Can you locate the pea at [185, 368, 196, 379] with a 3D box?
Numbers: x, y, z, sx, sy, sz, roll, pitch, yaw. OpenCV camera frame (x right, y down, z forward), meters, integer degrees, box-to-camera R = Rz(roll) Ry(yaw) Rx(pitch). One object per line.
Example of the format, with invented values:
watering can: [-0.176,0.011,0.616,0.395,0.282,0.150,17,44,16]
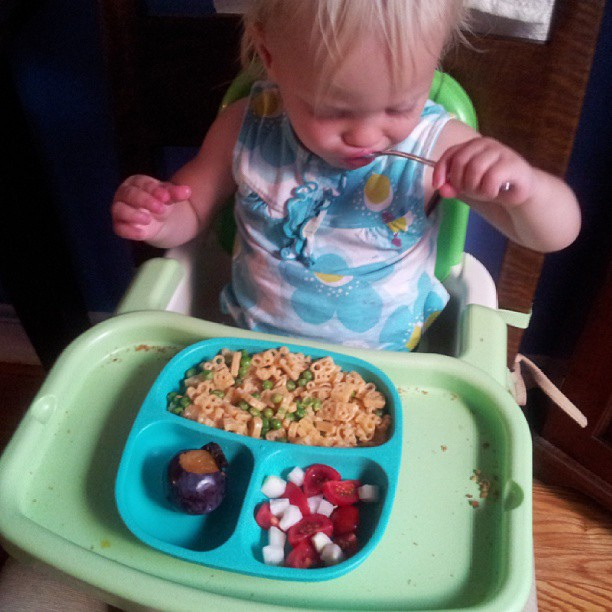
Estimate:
pea: [-0.158,0.091,0.830,0.012,0.007,0.009,-34,91,-21]

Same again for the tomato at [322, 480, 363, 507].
tomato: [0.047,0.220,0.719,0.031,0.013,0.033,5,22,-14]

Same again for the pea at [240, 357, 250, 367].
pea: [-0.083,0.075,0.830,0.008,0.011,0.008,-9,84,41]

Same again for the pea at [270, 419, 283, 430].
pea: [-0.039,0.150,0.776,0.010,0.012,0.009,-3,98,3]

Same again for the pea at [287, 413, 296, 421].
pea: [-0.020,0.144,0.796,0.009,0.008,0.008,7,73,-18]

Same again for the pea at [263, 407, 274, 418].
pea: [-0.049,0.137,0.793,0.010,0.012,0.009,12,66,-14]

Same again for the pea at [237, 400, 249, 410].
pea: [-0.085,0.131,0.808,0.011,0.006,0.011,-7,69,2]

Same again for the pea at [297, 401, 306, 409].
pea: [-0.007,0.130,0.808,0.008,0.004,0.007,1,31,-7]

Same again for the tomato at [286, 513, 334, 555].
tomato: [0.003,0.259,0.712,0.048,0.049,0.019,-7,85,31]

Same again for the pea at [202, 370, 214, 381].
pea: [-0.130,0.091,0.807,0.012,0.007,0.012,-11,57,5]

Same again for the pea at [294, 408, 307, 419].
pea: [-0.007,0.139,0.802,0.013,0.008,0.013,-39,91,-4]

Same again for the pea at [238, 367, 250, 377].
pea: [-0.085,0.089,0.827,0.013,0.011,0.007,-20,17,-6]

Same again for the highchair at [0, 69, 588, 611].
highchair: [0.010,0.172,1.187,0.849,0.722,0.831,12,59,8]

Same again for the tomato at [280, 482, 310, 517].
tomato: [-0.011,0.228,0.726,0.043,0.018,0.022,33,58,25]

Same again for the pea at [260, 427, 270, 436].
pea: [-0.053,0.160,0.779,0.009,0.009,0.009,15,73,-23]

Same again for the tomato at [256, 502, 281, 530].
tomato: [-0.046,0.242,0.702,0.029,0.018,0.029,6,54,-51]

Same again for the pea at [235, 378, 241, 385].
pea: [-0.092,0.101,0.825,0.005,0.008,0.008,4,78,-9]

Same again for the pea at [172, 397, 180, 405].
pea: [-0.171,0.124,0.800,0.009,0.009,0.008,2,90,-23]

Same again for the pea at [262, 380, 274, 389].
pea: [-0.051,0.105,0.820,0.010,0.006,0.010,-32,101,-4]

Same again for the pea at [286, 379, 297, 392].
pea: [-0.020,0.106,0.820,0.010,0.010,0.013,-32,19,-17]

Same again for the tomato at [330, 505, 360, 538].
tomato: [0.044,0.247,0.704,0.033,0.021,0.038,1,50,1]

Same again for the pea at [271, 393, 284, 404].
pea: [-0.038,0.120,0.799,0.013,0.008,0.012,30,91,0]
